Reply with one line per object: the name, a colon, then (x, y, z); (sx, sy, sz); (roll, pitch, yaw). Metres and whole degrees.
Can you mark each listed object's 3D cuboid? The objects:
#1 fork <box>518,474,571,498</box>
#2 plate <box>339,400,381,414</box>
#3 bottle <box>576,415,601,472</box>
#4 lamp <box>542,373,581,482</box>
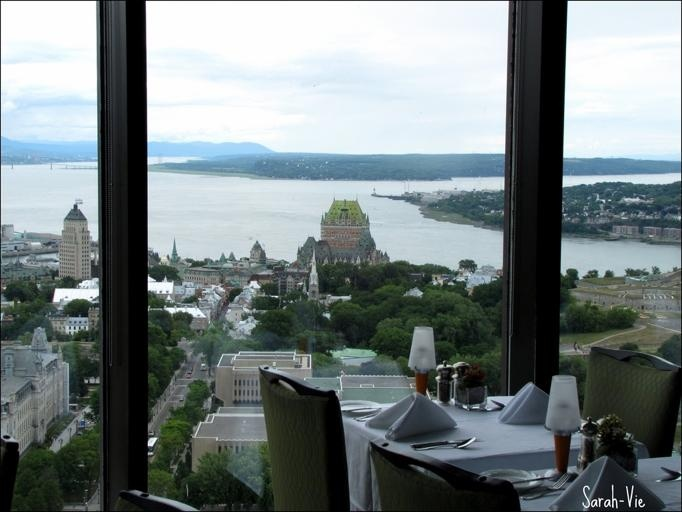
fork: (0.758, 0.861, 2.903); (0.150, 0.021, 0.086); (-15, 2, -15)
plate: (0.087, 0.713, 3.647); (0.149, 0.021, 0.150); (-1, -5, 40)
bottle: (0.958, 0.725, 2.987); (0.080, 0.203, 0.148); (0, 4, 20)
lamp: (0.869, 0.661, 3.043); (0.134, 0.402, 0.168); (-1, 3, 5)
